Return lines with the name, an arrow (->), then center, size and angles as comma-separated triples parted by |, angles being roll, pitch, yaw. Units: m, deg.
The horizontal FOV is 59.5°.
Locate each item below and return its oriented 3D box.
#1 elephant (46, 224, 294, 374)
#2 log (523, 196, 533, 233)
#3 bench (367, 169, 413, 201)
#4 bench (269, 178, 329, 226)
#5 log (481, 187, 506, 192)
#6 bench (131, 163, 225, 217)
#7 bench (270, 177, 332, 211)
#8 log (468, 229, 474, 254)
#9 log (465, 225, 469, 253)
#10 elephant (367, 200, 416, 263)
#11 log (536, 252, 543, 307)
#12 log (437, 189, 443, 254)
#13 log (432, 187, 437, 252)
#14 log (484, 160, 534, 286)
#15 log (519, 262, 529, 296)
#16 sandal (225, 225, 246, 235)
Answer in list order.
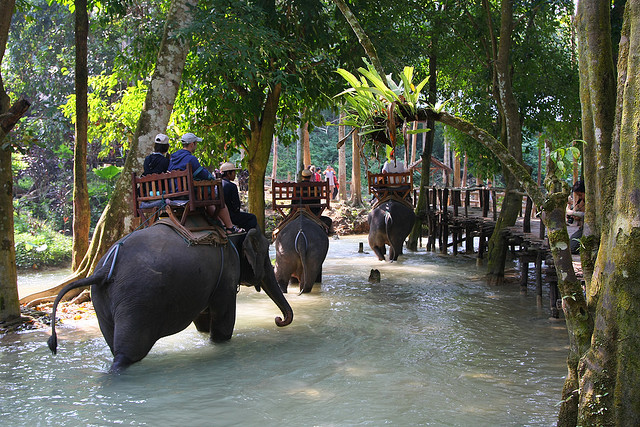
elephant -> -1.847, 0.953, 8.195 | 1.547, 2.085, 3.770 | 4, 6, 44
log -> 4.320, 0.028, 11.632 | 0.156, 0.759, 1.029 | 3, 7, 20
bench -> 1.957, -0.797, 15.351 | 0.964, 0.652, 1.033 | 0, -6, 2
bench -> -0.360, -0.134, 12.127 | 1.192, 1.033, 1.374 | -2, -8, 4
log -> 4.308, -0.583, 13.523 | 0.068, 0.143, 0.682 | 11, -2, -29
bench -> -1.936, -0.340, 7.625 | 1.057, 0.625, 0.693 | -5, 0, -20
bench -> -0.404, -0.419, 12.040 | 1.156, 0.580, 1.638 | 1, 6, -2
log -> 4.953, 0.909, 18.345 | 0.099, 0.884, 0.937 | 3, 7, 21
log -> 4.759, 0.864, 18.093 | 0.143, 0.920, 0.767 | 3, 7, 15
elephant -> 1.946, 0.454, 15.063 | 1.061, 1.633, 0.870 | -2, 7, -23
log -> 4.145, 1.234, 10.530 | 0.117, 1.071, 0.351 | 4, 7, 24
log -> 4.011, 0.234, 18.614 | 0.208, 2.104, 0.853 | 2, 7, 12
log -> 3.919, 0.239, 19.115 | 0.157, 2.081, 0.645 | 2, 7, 12
log -> 4.421, 0.065, 13.045 | 0.475, 3.286, 0.593 | 12, -10, -6
log -> 4.176, 1.332, 11.448 | 0.132, 0.744, 0.367 | 3, 7, 18
sandal -> -1.285, 0.260, 8.548 | 0.284, 0.123, 0.097 | -3, 4, -29
